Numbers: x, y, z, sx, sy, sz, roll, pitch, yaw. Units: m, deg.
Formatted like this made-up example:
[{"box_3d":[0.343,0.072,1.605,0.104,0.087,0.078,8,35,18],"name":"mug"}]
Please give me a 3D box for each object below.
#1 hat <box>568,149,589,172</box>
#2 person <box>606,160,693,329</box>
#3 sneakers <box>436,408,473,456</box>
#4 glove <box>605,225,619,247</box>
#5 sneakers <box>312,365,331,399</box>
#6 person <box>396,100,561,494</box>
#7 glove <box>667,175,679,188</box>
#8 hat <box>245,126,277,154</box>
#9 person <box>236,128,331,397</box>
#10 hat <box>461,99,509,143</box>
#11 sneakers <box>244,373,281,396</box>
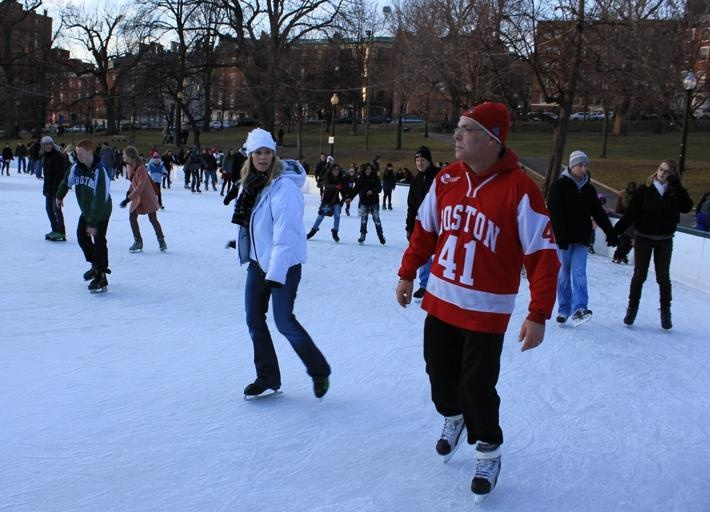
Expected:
[{"box_3d":[2.826,-1.203,7.897,0.219,0.226,0.604,6,13,18],"name":"hat"},{"box_3d":[3.648,-0.134,7.748,0.848,2.064,0.622,6,12,17],"name":"person"},{"box_3d":[0.720,1.295,4.677,0.136,0.209,0.482,-7,14,29],"name":"sneakers"},{"box_3d":[3.097,-0.225,7.500,0.076,0.259,0.185,-32,12,-31],"name":"glove"},{"box_3d":[-0.300,1.100,5.500,0.107,0.335,0.139,-1,10,13],"name":"sneakers"},{"box_3d":[0.834,0.267,4.398,1.071,2.635,0.605,13,16,43],"name":"person"},{"box_3d":[3.836,-0.890,7.487,0.169,0.138,0.097,-1,12,-13],"name":"glove"},{"box_3d":[-0.817,-0.993,5.366,0.179,0.198,0.240,-12,5,-37],"name":"hat"},{"box_3d":[-0.675,0.087,5.382,0.897,2.302,0.653,12,15,39],"name":"person"},{"box_3d":[0.946,-0.968,4.423,0.334,0.266,0.246,24,13,-13],"name":"hat"},{"box_3d":[-0.822,1.129,5.503,0.303,0.154,0.170,2,-1,-13],"name":"sneakers"}]
